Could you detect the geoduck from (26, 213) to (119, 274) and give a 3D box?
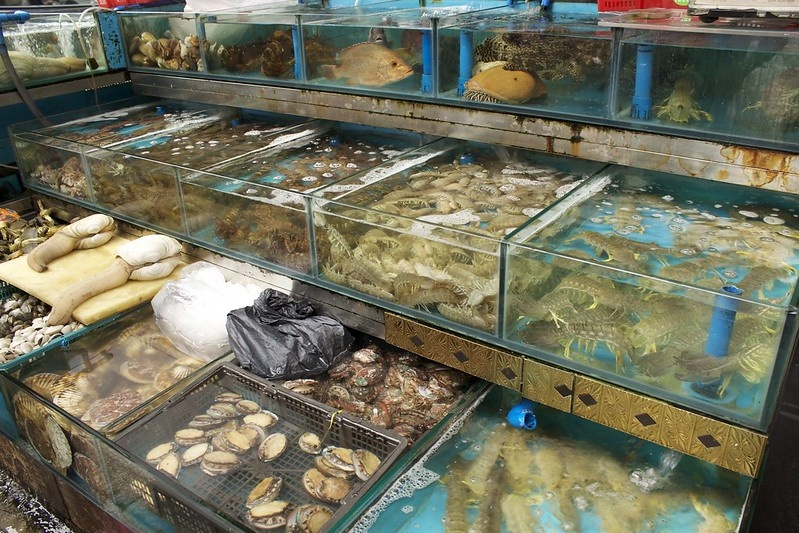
[{"bbox_3d":[-2.326,-0.166,3.242,0.382,0.219,0.587,20,40,20],"label":"geoduck"}]

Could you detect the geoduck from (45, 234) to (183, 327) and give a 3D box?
[{"bbox_3d":[-1.870,0.054,2.953,0.400,0.284,0.848,30,45,12],"label":"geoduck"}]
